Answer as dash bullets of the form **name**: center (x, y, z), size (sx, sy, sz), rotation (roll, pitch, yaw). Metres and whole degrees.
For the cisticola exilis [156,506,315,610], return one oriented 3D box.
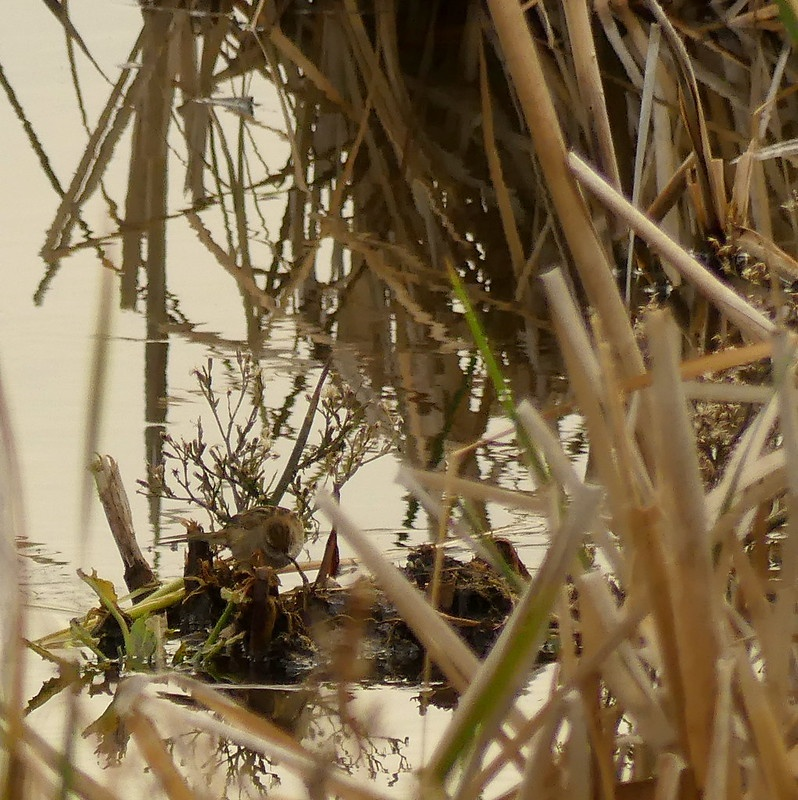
- **cisticola exilis**: center (-0.084, 0.102, 1.055), size (0.118, 0.051, 0.048), rotation (18, 2, -35)
